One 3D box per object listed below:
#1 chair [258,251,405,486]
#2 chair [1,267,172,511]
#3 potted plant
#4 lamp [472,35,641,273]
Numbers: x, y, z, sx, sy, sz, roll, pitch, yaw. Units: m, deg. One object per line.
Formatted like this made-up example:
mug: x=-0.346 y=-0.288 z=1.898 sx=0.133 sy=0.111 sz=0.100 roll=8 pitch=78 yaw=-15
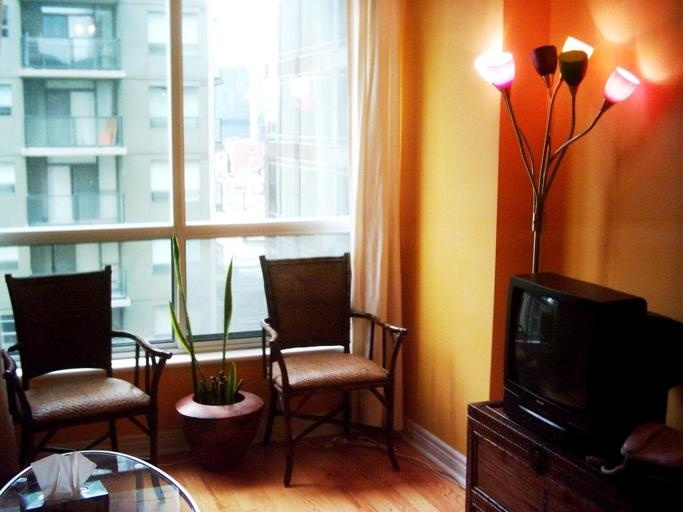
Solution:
chair: x=-0.056 y=0.566 z=3.387 sx=0.780 sy=1.111 sz=0.743 roll=-1 pitch=12 yaw=-9
chair: x=-1.330 y=0.531 z=3.168 sx=0.961 sy=1.375 sz=0.921 roll=-1 pitch=4 yaw=-29
potted plant: x=-0.680 y=0.501 z=3.279 sx=0.448 sy=1.244 sz=0.654 roll=-3 pitch=12 yaw=-16
lamp: x=0.892 y=-0.411 z=2.668 sx=0.622 sy=1.055 sz=0.626 roll=-1 pitch=12 yaw=-9
